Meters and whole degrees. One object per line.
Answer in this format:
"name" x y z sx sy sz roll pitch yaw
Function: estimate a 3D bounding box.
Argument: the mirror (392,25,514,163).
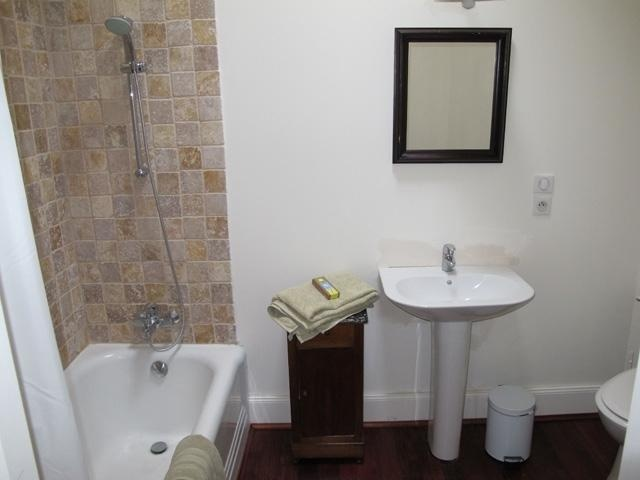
"mirror" 0.682 -0.787 2.640 0.579 0.700 0.046 -1 16 -2

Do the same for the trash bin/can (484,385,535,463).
"trash bin/can" 0.993 1.003 2.873 0.276 0.374 0.341 -2 23 -2

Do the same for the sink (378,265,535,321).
"sink" 0.689 0.280 2.638 0.736 0.156 0.477 -3 18 2

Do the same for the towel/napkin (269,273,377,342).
"towel/napkin" 0.024 0.320 2.605 0.412 0.139 0.323 -21 32 -25
